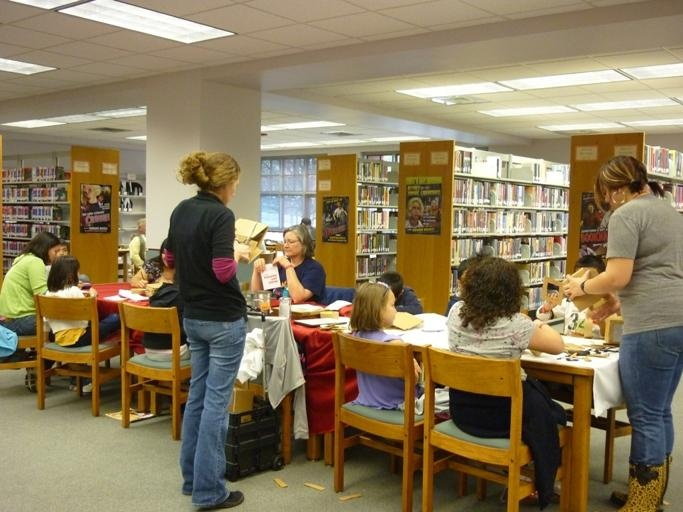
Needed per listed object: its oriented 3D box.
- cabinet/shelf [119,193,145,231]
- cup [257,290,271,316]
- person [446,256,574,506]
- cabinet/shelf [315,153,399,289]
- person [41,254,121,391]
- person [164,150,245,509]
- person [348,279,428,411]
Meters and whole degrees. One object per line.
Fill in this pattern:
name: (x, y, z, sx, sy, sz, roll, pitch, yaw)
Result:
cabinet/shelf: (-4.876, -1.041, 13.393, 0.912, 0.898, 0.276, 8, 9, 42)
cup: (-0.575, 0.351, 4.313, 0.153, 0.175, 0.137, 0, 9, -3)
person: (0.888, 0.656, 3.188, 0.664, 1.290, 0.442, 5, 12, 22)
cabinet/shelf: (0.147, -0.363, 9.277, 0.664, 2.168, 1.136, 0, -4, 24)
person: (-2.290, 0.832, 5.153, 0.553, 1.033, 0.670, 1, 2, 9)
person: (-0.791, 0.448, 3.498, 0.431, 2.123, 0.545, -4, 12, -20)
person: (0.269, 0.571, 3.682, 0.414, 0.763, 0.491, -3, 12, -17)
